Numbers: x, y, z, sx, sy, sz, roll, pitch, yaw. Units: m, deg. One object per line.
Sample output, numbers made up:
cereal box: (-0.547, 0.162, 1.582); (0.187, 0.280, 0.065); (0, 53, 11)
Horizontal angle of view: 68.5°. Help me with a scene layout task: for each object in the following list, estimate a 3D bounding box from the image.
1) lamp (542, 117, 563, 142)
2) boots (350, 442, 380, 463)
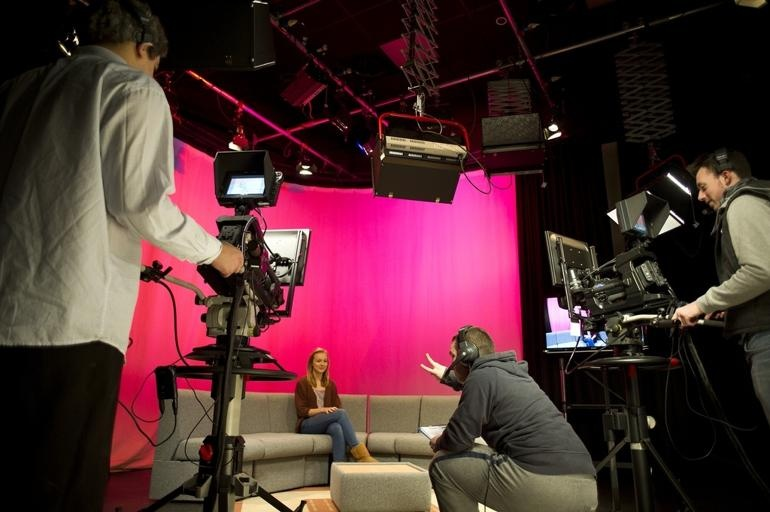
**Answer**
lamp: (1.593, -1.222, 5.414); (0.158, 0.233, 0.251); (0, 10, 5)
boots: (-0.196, 1.778, 5.068); (0.279, 0.211, 0.131); (-3, -7, 10)
